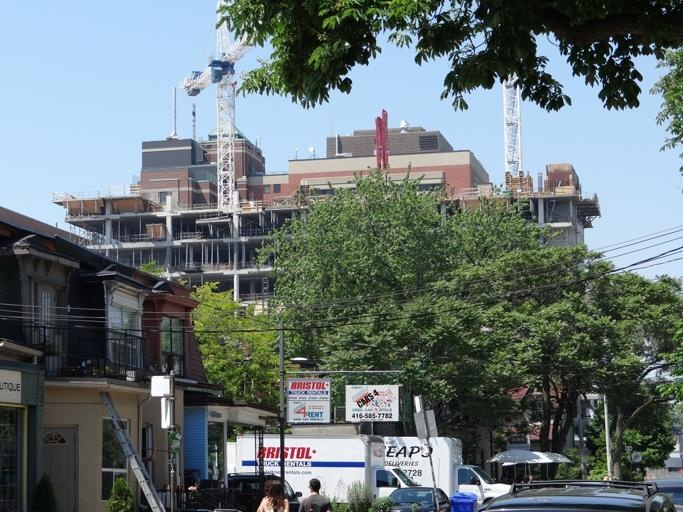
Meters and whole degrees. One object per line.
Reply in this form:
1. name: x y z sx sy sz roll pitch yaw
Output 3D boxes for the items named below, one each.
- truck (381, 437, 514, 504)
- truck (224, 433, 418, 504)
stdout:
1. truck: 4.554 10.876 96.460 7.279 4.070 2.975 -2 -2 16
2. truck: -0.655 10.735 94.941 10.185 4.341 3.407 -2 -4 16
